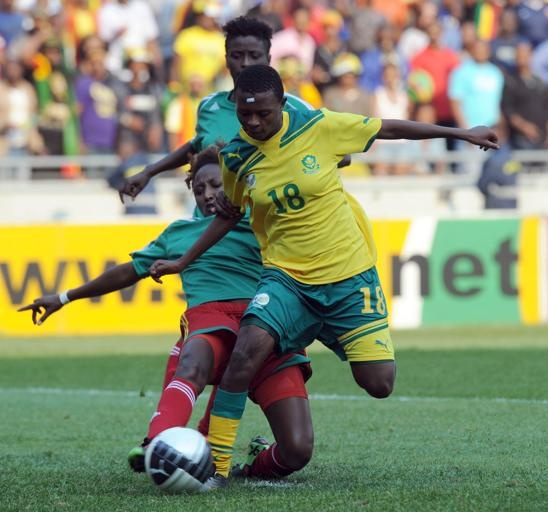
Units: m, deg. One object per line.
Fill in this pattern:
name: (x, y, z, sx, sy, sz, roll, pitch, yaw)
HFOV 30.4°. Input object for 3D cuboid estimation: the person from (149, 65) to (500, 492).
person: (0.202, 0.080, 4.918, 1.165, 1.976, 0.506, -2, 3, -5)
